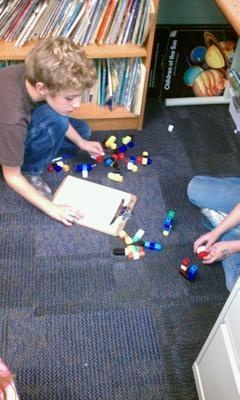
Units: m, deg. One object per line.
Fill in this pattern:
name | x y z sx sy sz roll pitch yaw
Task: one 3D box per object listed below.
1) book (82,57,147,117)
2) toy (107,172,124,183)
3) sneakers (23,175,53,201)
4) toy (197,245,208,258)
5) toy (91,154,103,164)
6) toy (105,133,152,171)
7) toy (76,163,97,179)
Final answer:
book | -0.042 -0.706 1.749 0.294 0.380 0.308 -9 59 -10
toy | -0.031 -0.135 1.672 0.070 0.056 0.030 11 31 1
sneakers | -0.462 -0.079 1.617 0.047 0.103 0.181 -35 75 3
toy | 0.387 0.245 1.336 0.040 0.059 0.014 36 16 36
toy | -0.144 -0.256 1.763 0.029 0.072 0.032 18 80 -14
toy | 0.051 -0.313 1.833 0.295 0.080 0.333 2 56 -11
toy | -0.221 -0.185 1.739 0.104 0.027 0.083 -7 81 -13
